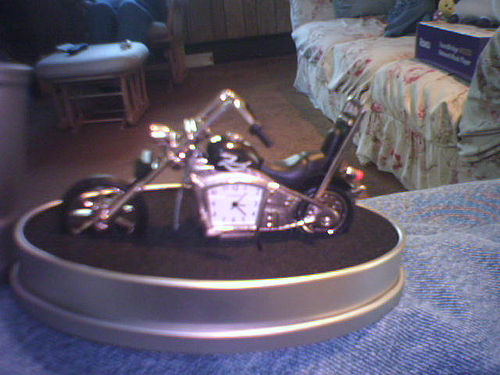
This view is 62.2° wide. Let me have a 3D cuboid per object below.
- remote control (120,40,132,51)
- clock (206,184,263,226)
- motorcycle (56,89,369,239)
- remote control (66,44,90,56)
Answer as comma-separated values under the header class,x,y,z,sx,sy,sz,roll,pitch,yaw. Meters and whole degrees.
class,x,y,z,sx,sy,sz,roll,pitch,yaw
remote control,-0.729,-0.853,2.473,0.063,0.044,0.064,15,47,15
clock,-0.058,0.051,1.368,0.134,0.114,0.018,1,12,-2
motorcycle,-0.158,-0.107,1.597,1.063,0.538,0.480,0,18,-2
remote control,-0.921,-0.722,2.180,0.065,0.053,0.211,-1,27,3
